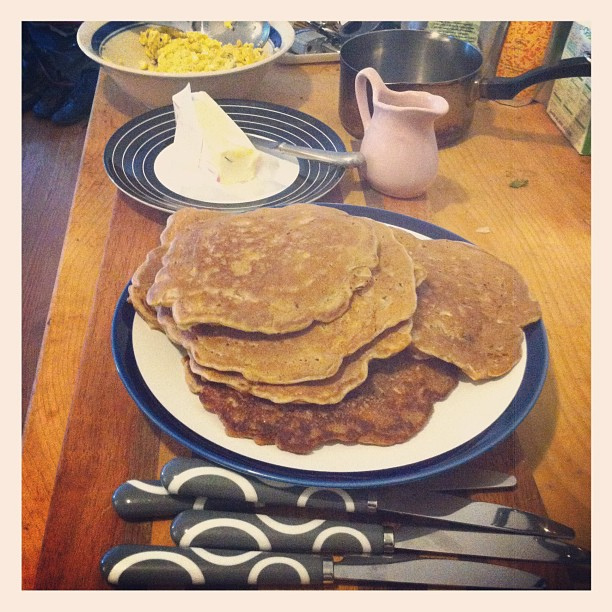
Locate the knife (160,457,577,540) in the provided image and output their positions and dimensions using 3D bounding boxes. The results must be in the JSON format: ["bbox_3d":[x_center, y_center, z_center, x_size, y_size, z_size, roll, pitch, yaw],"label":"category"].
[{"bbox_3d":[0.075,0.246,0.816,0.555,0.046,0.060,4,32,-3],"label":"knife"}]

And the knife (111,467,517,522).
[{"bbox_3d":[0.013,0.225,0.804,0.400,0.033,0.054,1,41,1],"label":"knife"}]

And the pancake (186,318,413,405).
[{"bbox_3d":[0.002,0.080,0.826,0.285,0.065,0.091,-6,52,-6],"label":"pancake"}]

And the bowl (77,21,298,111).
[{"bbox_3d":[-0.254,-0.544,1.465,0.335,0.116,0.323,2,34,-2],"label":"bowl"}]

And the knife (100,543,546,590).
[{"bbox_3d":[0.013,0.292,0.756,0.487,0.060,0.050,2,52,0],"label":"knife"}]

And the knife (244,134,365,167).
[{"bbox_3d":[-0.012,-0.281,1.235,0.197,0.017,0.028,15,60,19],"label":"knife"}]

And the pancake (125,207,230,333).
[{"bbox_3d":[-0.171,-0.045,0.997,0.180,0.043,0.128,-38,55,-14],"label":"pancake"}]
